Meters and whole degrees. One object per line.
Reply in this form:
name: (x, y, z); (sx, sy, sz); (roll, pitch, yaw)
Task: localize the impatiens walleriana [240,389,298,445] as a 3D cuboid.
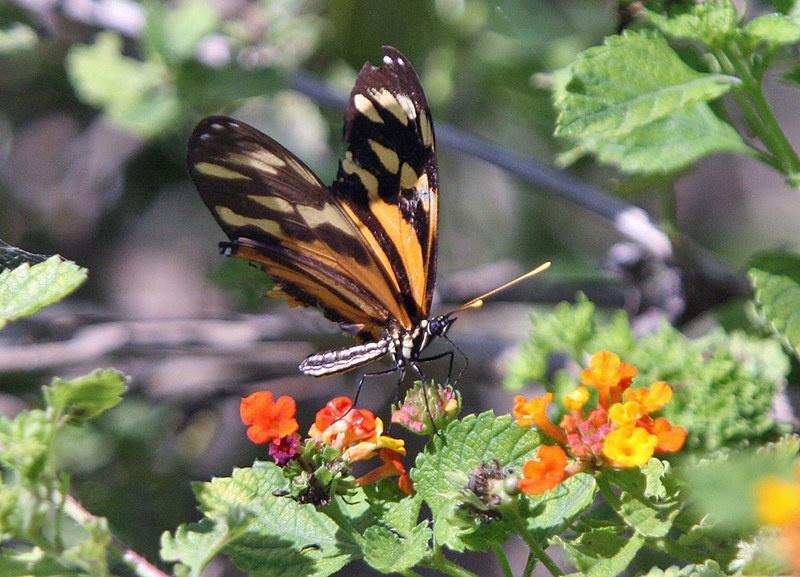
impatiens walleriana: (-0.294, 0.292, 2.031); (0.111, 0.050, 0.126); (-8, 52, -10)

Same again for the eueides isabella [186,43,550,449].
eueides isabella: (-0.161, -0.138, 2.381); (0.667, 0.819, 0.290); (-20, 16, 5)

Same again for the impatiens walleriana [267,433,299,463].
impatiens walleriana: (-0.255, 0.361, 1.998); (0.058, 0.024, 0.059); (-39, 60, -7)

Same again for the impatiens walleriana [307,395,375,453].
impatiens walleriana: (-0.130, 0.319, 2.064); (0.154, 0.114, 0.094); (-26, 16, -12)
